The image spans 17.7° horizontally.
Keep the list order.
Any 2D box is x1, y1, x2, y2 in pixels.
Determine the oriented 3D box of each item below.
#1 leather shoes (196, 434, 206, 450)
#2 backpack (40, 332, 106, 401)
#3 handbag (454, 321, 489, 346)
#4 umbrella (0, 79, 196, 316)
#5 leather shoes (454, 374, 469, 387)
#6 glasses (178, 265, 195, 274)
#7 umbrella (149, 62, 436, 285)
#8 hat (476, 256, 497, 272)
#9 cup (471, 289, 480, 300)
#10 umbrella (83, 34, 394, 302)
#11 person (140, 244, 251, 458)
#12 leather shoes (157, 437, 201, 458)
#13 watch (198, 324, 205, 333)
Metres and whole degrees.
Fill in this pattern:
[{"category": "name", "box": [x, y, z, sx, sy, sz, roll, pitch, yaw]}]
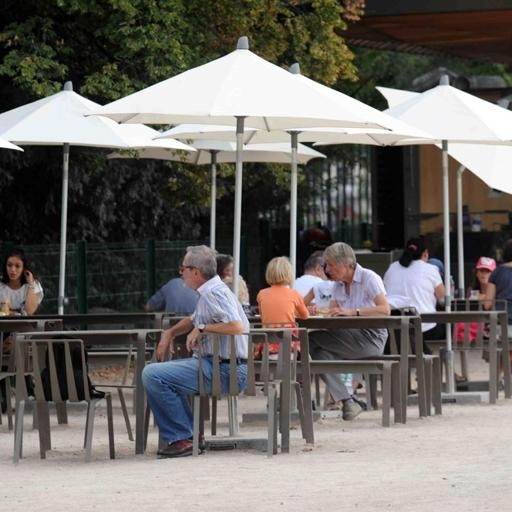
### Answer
[{"category": "leather shoes", "box": [-0.447, 1.513, 13.229, 0.036, 0.130, 0.050, -2, -6, 31]}, {"category": "backpack", "box": [-1.468, 0.873, 13.117, 0.457, 0.583, 0.387, -1, -1, 3]}, {"category": "handbag", "box": [2.224, 0.786, 16.770, 0.326, 0.301, 0.295, -1, -2, 7]}, {"category": "umbrella", "box": [-1.711, -0.470, 16.450, 1.857, 2.060, 2.040, 2, -3, -13]}, {"category": "leather shoes", "box": [2.106, 1.281, 16.670, 0.087, 0.129, 0.295, -2, -5, 4]}, {"category": "glasses", "box": [-0.600, 0.120, 14.140, 0.103, 0.038, 0.108, 9, 0, -12]}, {"category": "umbrella", "box": [0.439, -1.177, 14.396, 1.953, 1.669, 2.044, 3, -3, -36]}, {"category": "hat", "box": [2.504, 0.064, 17.634, 0.151, 0.144, 0.248, 10, -5, 8]}, {"category": "cup", "box": [2.313, 0.418, 17.224, 0.092, 0.142, 0.130, 1, -6, -10]}, {"category": "umbrella", "box": [-0.172, -0.748, 14.211, 1.878, 1.868, 2.091, 1, 0, 5]}, {"category": "person", "box": [-0.488, 0.761, 13.148, 0.879, 1.688, 0.449, -3, -4, -2]}, {"category": "leather shoes", "box": [-0.613, 1.539, 13.109, 0.306, 0.163, 0.121, 4, -7, -22]}, {"category": "watch", "box": [-0.433, 0.581, 12.996, 0.037, 0.071, 0.059, 0, 5, -3]}]
